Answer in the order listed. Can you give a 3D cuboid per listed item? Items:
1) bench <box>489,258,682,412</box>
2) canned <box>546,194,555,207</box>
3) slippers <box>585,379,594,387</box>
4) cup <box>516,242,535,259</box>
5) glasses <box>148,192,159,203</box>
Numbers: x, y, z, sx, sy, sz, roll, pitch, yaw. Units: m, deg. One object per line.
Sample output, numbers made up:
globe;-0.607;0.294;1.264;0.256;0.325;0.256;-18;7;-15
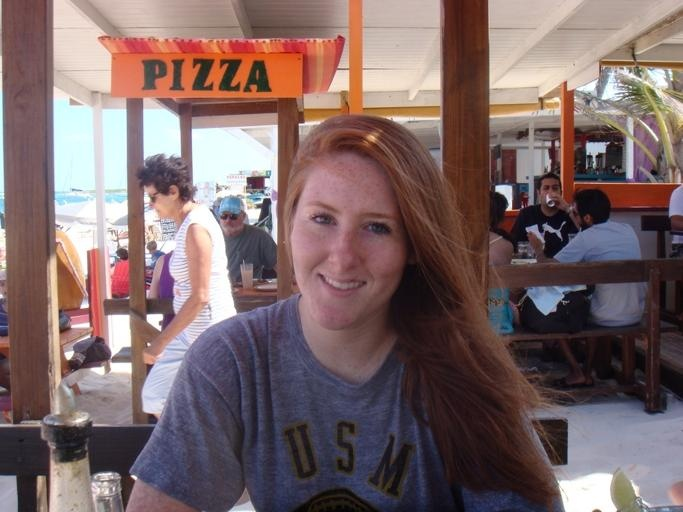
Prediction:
bench;2.121;0.664;5.245;1.261;0.833;0.502;-1;8;2
canned;2.468;-0.665;7.233;0.037;0.126;0.090;-39;-50;25
slippers;2.396;1.239;5.902;0.065;0.073;0.083;0;-6;16
cup;2.154;-0.064;7.176;0.165;0.199;0.179;0;2;0
glasses;-1.388;-0.438;4.482;0.081;0.090;0.027;1;0;-9
